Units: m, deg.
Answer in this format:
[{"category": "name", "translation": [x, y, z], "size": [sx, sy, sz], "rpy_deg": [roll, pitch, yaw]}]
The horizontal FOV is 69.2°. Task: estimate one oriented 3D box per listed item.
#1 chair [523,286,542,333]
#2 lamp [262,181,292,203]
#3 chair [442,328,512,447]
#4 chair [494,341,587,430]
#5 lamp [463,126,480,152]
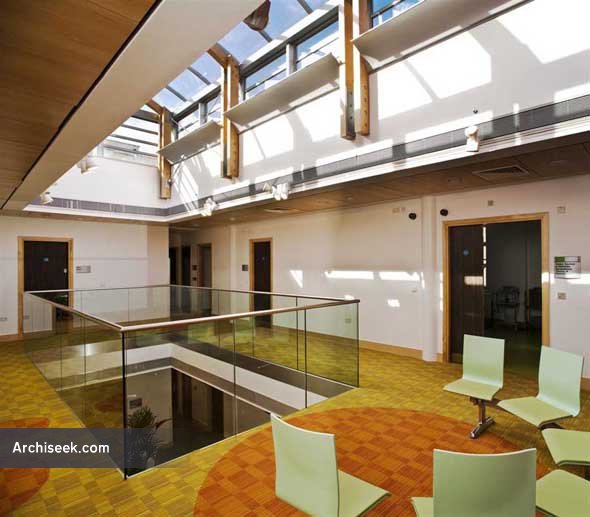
[{"category": "chair", "translation": [5.428, 1.114, 9.752], "size": [0.303, 0.959, 0.602], "rpy_deg": [0, -1, 27]}, {"category": "lamp", "translation": [-0.244, -1.198, 7.593], "size": [0.245, 0.312, 0.628], "rpy_deg": [0, -1, -29]}, {"category": "chair", "translation": [1.932, 1.378, 4.589], "size": [0.618, 0.981, 0.678], "rpy_deg": [-5, 3, -8]}, {"category": "chair", "translation": [2.336, 1.280, 4.235], "size": [0.801, 0.846, 0.761], "rpy_deg": [-1, 0, -21]}, {"category": "lamp", "translation": [2.082, -1.391, 5.012], "size": [0.141, 0.305, 0.299], "rpy_deg": [0, -1, 23]}]
